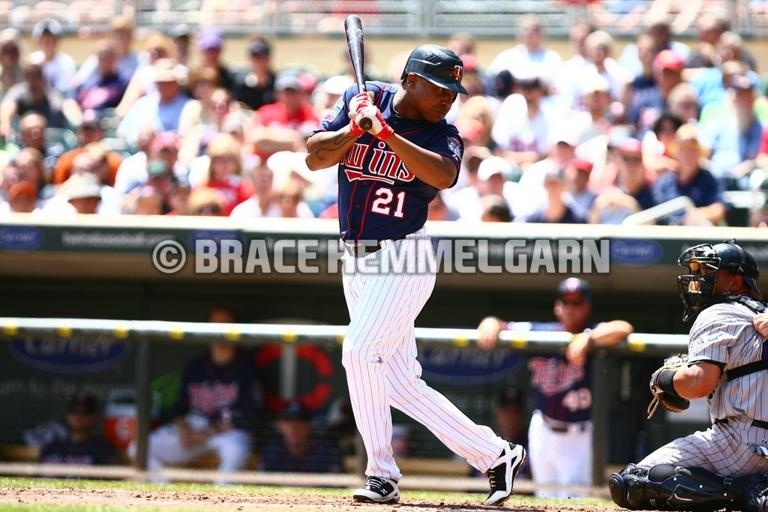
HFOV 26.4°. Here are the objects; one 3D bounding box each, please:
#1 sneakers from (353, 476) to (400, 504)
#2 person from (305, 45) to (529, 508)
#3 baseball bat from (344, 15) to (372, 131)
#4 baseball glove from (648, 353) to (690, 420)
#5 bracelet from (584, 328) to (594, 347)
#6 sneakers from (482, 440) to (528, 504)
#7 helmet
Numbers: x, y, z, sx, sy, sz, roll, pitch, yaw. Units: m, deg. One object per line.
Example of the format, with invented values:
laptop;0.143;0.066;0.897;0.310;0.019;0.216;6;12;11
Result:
sneakers;-0.033;1.669;11.737;0.338;0.161;0.161;10;-12;-20
person;0.127;0.148;11.728;1.256;3.203;1.003;-4;17;-3
baseball bat;-0.189;-1.308;11.756;0.157;1.007;0.150;21;-40;-33
baseball glove;2.028;0.917;11.678;0.336;0.410;0.167;7;-10;-16
bracelet;1.610;0.612;12.789;0.060;0.085;0.093;1;-19;2
sneakers;0.854;1.539;11.863;0.245;0.543;0.189;24;2;-10
helmet;2.358;0.167;11.664;0.642;0.546;0.489;6;-4;9
